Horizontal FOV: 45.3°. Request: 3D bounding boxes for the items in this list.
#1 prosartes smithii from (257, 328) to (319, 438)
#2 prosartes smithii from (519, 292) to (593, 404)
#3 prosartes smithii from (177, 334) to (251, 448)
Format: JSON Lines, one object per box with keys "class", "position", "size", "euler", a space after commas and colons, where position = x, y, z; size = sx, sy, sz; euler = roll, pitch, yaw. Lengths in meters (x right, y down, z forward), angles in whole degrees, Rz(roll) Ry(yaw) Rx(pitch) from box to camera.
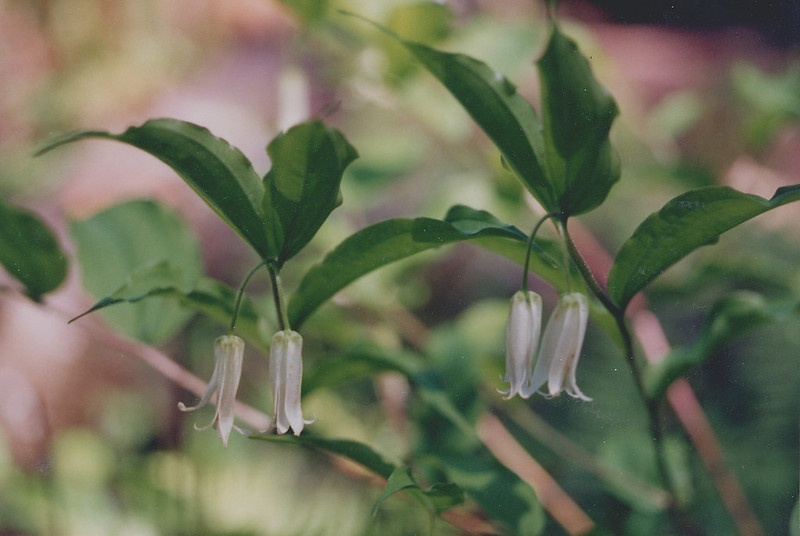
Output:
{"class": "prosartes smithii", "position": [-0.286, 0.304, 2.512], "size": [0.105, 0.239, 0.133], "euler": [1, -28, -6]}
{"class": "prosartes smithii", "position": [0.410, 0.222, 2.510], "size": [0.177, 0.266, 0.146], "euler": [-5, -28, 5]}
{"class": "prosartes smithii", "position": [-0.451, 0.320, 2.527], "size": [0.174, 0.275, 0.174], "euler": [12, 4, -29]}
